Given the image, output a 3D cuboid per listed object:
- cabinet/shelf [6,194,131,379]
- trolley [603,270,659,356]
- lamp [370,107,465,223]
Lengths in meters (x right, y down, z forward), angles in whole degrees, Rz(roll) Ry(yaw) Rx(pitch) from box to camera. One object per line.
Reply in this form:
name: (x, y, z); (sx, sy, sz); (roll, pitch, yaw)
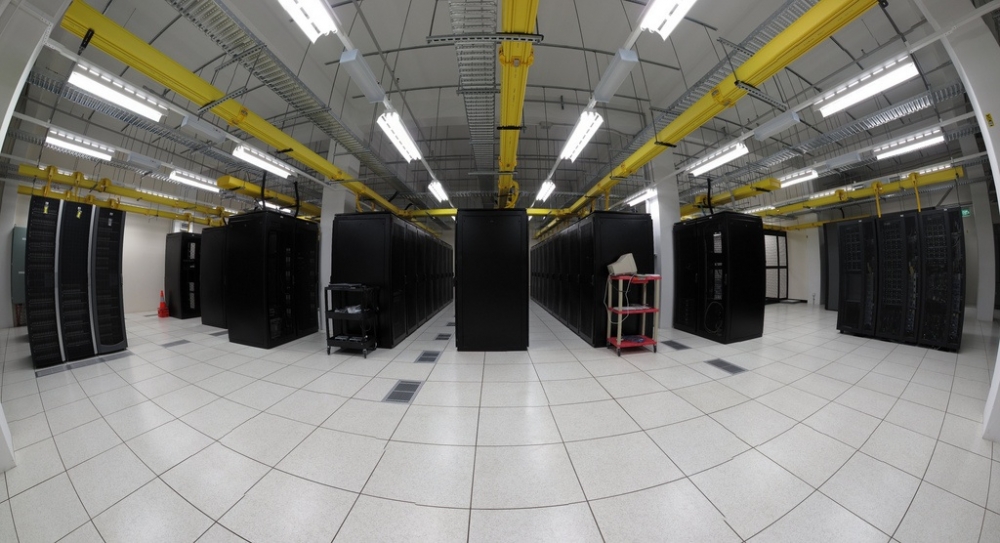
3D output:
cabinet/shelf: (-9.096, 0.233, 10.441); (1.596, 3.665, 0.424); (-2, -2, -36)
trolley: (3.068, 0.956, 10.880); (1.314, 1.596, 0.754); (-2, -1, -23)
lamp: (-1.646, -2.314, 12.774); (0.697, 0.615, 5.893); (-16, -23, 11)
